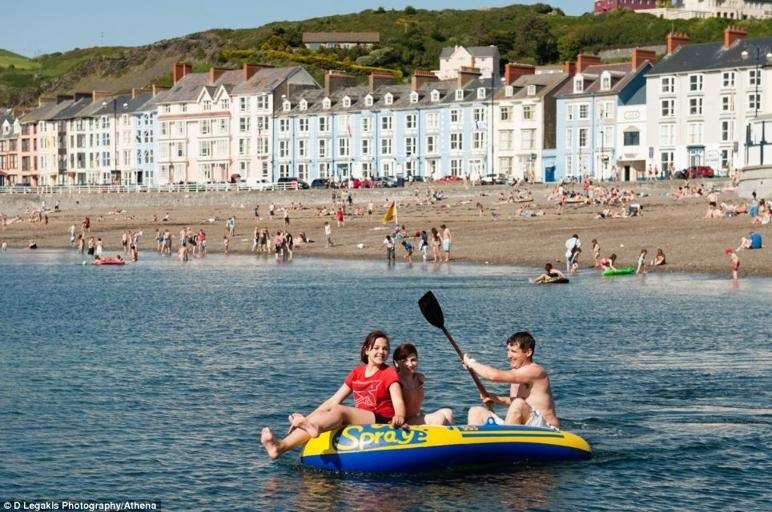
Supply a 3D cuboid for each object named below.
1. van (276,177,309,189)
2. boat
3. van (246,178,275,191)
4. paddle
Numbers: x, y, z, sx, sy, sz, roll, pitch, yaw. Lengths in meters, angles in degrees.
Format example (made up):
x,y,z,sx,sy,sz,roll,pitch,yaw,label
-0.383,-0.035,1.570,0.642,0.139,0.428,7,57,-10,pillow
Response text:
x,y,z,sx,sy,sz,roll,pitch,yaw,label
-9.024,-7.314,133.644,2.515,1.220,1.717,-1,1,13,van
2.400,7.381,54.118,11.998,2.052,6.430,-1,-8,-9,boat
-11.779,-6.587,132.714,2.676,1.392,1.558,-2,7,9,van
2.864,3.722,52.682,0.814,5.733,0.558,-45,21,-28,paddle
